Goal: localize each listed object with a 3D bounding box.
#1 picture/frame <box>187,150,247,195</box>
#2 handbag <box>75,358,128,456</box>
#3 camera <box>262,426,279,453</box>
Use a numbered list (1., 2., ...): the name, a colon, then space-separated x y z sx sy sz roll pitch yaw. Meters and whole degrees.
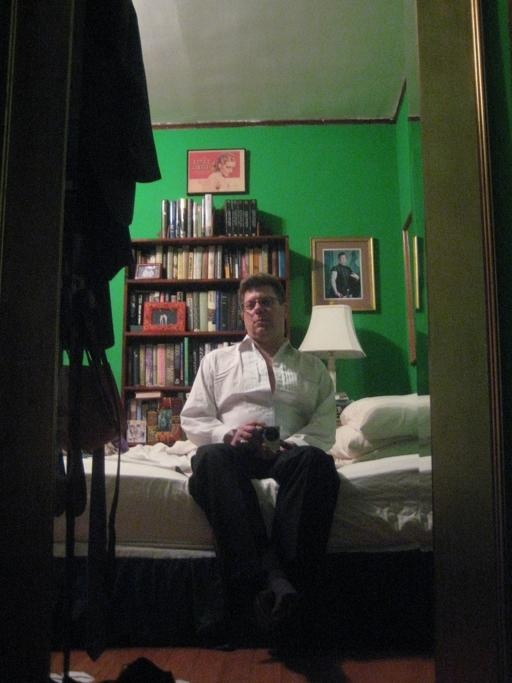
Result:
1. picture/frame: -0.061 -0.273 1.053 0.064 0.054 0.010 -2 -15 1
2. handbag: -0.246 0.103 1.010 0.040 0.128 0.089 -6 8 -36
3. camera: 0.024 0.147 0.969 0.026 0.043 0.030 1 -16 -6
